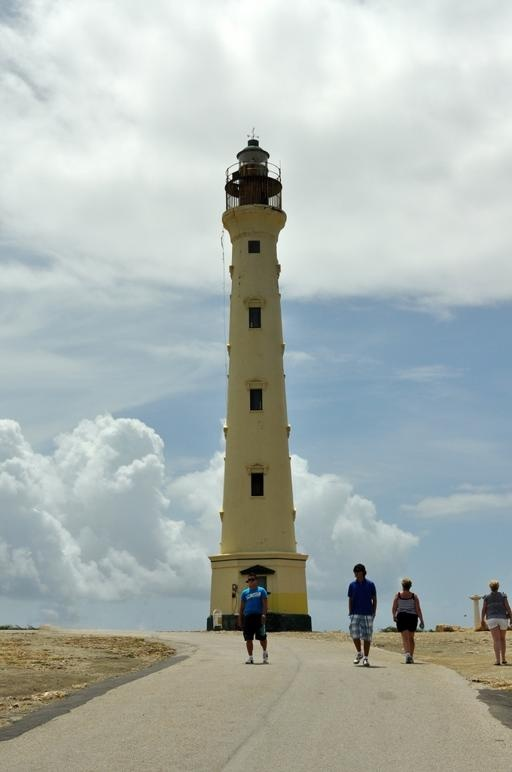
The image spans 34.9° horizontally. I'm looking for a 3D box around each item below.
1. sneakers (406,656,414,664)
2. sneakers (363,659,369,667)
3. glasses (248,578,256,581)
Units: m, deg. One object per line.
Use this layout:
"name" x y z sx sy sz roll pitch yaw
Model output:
"sneakers" 3.134 5.575 16.516 0.091 0.128 0.283 0 -34 4
"sneakers" 2.108 5.241 15.405 0.055 0.117 0.158 2 -33 -3
"glasses" -0.078 3.890 16.298 0.077 0.044 0.107 -1 -23 2
